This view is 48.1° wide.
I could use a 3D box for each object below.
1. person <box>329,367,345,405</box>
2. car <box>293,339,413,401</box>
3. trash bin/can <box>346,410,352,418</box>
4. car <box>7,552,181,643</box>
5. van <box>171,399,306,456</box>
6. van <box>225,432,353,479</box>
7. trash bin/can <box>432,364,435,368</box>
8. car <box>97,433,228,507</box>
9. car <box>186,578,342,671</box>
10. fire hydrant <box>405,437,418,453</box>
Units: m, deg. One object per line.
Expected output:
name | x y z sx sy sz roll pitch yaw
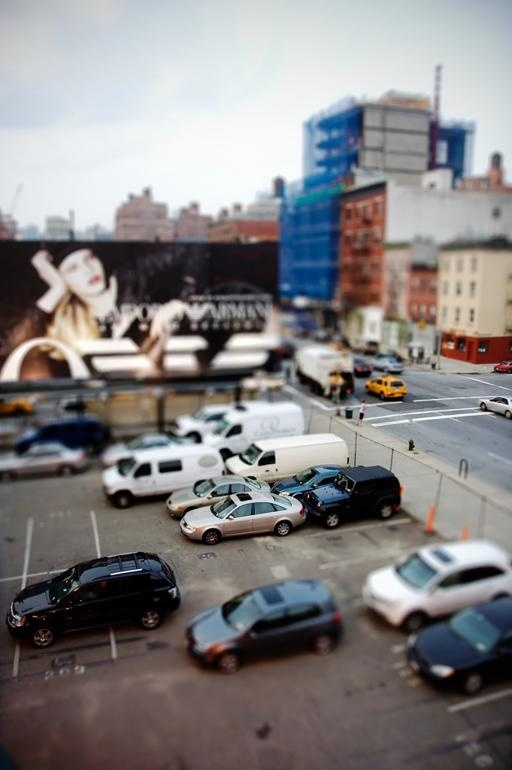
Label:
person | 4.322 -0.062 30.912 0.954 1.747 1.330 1 12 10
car | 4.495 -1.262 33.648 2.896 2.866 7.180 -4 13 -12
trash bin/can | 4.448 1.317 27.556 0.324 0.356 0.335 -2 15 -11
car | -3.503 4.434 12.465 3.249 1.449 1.641 -3 19 -18
van | -0.550 1.542 23.734 4.229 2.227 2.540 0 9 -9
van | 1.131 2.861 20.544 3.769 1.502 1.779 -3 10 -13
trash bin/can | 7.349 -0.858 23.679 0.076 0.155 0.152 0 -4 -1
car | -3.252 2.796 19.517 3.736 1.587 1.916 -5 15 -16
car | 0.177 4.857 11.426 2.590 1.236 1.471 -6 26 -9
fire hydrant | 5.851 2.213 21.521 0.383 0.631 0.444 -5 21 -15
